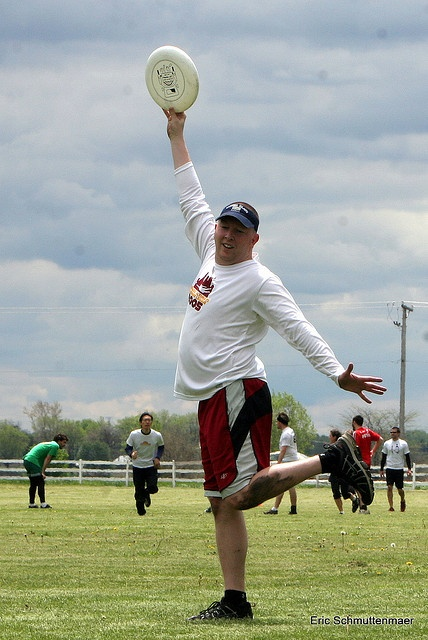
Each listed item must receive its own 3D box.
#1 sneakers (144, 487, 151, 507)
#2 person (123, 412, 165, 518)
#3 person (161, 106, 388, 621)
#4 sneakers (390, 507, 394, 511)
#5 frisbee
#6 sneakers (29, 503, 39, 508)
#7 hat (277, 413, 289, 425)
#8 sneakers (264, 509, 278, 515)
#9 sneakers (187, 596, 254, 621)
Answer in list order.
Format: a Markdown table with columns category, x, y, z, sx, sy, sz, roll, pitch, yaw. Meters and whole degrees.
| category | x | y | z | sx | sy | sz | roll | pitch | yaw |
| --- | --- | --- | --- | --- | --- | --- | --- | --- | --- |
| sneakers | -0.871 | 2.329 | 19.392 | 0.079 | 0.111 | 0.389 | -9 | -29 | -9 |
| person | -0.925 | 1.914 | 19.645 | 0.482 | 1.354 | 1.672 | -2 | -4 | -3 |
| person | 0.265 | 0.648 | 11.063 | 1.179 | 3.060 | 0.521 | -2 | -3 | 5 |
| sneakers | 2.653 | 2.862 | 22.483 | 0.037 | 0.043 | 0.129 | -7 | -17 | 13 |
| frisbee | -0.366 | -1.977 | 12.266 | 0.427 | 0.513 | 0.227 | -3 | -4 | 16 |
| sneakers | -2.603 | 2.691 | 21.430 | 0.052 | 0.070 | 0.158 | 20 | 0 | 33 |
| hat | 0.968 | 1.410 | 21.294 | 0.134 | 0.191 | 0.181 | -6 | 29 | 3 |
| sneakers | 0.747 | 2.639 | 20.465 | 0.209 | 0.099 | 0.073 | 3 | -5 | 29 |
| sneakers | 0.035 | 2.110 | 10.821 | 0.466 | 0.212 | 0.167 | 4 | -19 | -6 |
